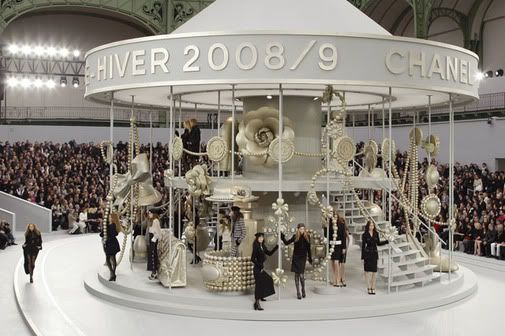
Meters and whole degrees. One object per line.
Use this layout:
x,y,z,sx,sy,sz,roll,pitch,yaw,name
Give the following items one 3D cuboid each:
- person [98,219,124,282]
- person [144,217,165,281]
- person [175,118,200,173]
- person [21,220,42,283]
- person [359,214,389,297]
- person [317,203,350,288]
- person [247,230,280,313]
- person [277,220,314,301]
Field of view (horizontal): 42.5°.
-4.536,2.637,20.786,0.568,1.770,0.981,-2,10,-14,person
-3.081,2.536,20.286,0.392,1.826,0.933,-5,11,-28,person
-2.147,-0.780,22.303,0.685,2.000,1.477,-1,10,-7,person
-7.000,2.760,20.543,0.555,1.992,0.844,-4,11,-21,person
3.678,2.747,19.894,0.663,2.295,0.719,4,11,23,person
2.632,2.499,20.611,0.775,2.488,0.940,1,10,4,person
0.269,3.040,19.048,0.597,2.162,0.699,-2,10,-15,person
1.332,2.851,19.867,0.905,2.080,1.230,0,10,2,person
